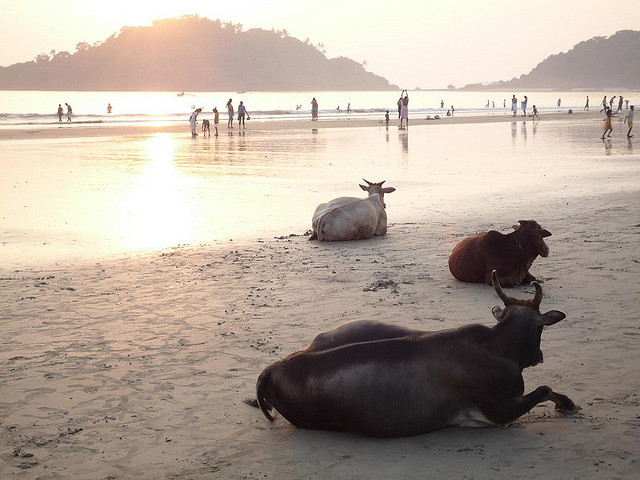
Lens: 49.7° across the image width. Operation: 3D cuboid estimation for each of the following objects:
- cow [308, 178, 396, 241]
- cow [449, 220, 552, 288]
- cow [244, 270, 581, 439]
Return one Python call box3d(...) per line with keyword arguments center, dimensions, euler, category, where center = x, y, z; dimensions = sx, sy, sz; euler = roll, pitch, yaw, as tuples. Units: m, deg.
box3d(center=(0.771, -0.611, 14.895), dimensions=(1.294, 1.044, 2.671), euler=(15, 20, 32), category="cow")
box3d(center=(2.864, 0.220, 10.812), dimensions=(1.011, 0.867, 1.941), euler=(2, -1, -26), category="cow")
box3d(center=(1.047, 1.213, 7.110), dimensions=(3.383, 1.199, 1.471), euler=(-6, 17, -10), category="cow")
